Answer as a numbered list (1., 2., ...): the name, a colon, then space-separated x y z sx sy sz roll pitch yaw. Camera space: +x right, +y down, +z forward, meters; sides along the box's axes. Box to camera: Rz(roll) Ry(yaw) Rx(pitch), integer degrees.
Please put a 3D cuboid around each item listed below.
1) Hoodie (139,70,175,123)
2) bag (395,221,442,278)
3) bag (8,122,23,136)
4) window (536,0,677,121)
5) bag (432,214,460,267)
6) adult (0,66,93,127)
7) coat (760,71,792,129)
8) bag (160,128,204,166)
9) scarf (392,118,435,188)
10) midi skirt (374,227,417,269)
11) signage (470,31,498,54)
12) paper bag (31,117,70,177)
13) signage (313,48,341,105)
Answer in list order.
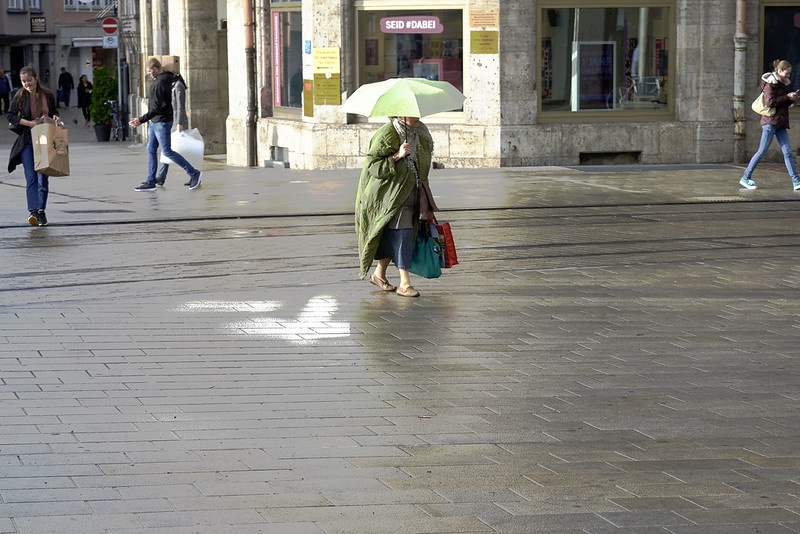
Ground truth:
1. Hoodie: -3.683 -2.592 21.652 0.606 0.764 0.369 -4 11 -21
2. bag: 0.191 -0.202 14.296 0.277 0.544 0.573 0 7 -17
3. bag: -4.832 -1.764 17.987 0.183 0.079 0.234 5 -12 4
4. window: 3.424 -3.478 24.025 2.219 1.351 1.952 0 29 0
5. bag: 0.491 -0.263 15.036 0.232 0.532 0.448 -22 24 9
6. adult: -4.625 -2.107 18.008 0.655 0.864 0.560 -3 11 -16
7. coat: 5.550 -2.448 20.917 0.450 0.798 0.465 3 11 13
8. bag: -3.382 -1.876 22.185 0.657 0.571 0.642 4 -3 -10
9. scarf: 0.115 -1.146 14.147 0.500 0.590 0.213 10 -21 -28
10. midi skirt: -0.030 -0.211 14.288 0.281 0.438 0.410 10 -1 -42
11. signage: 1.386 -3.667 23.112 0.452 0.320 0.055 0 2 3
12. paper bag: -4.377 -1.495 17.914 0.449 0.717 0.410 -5 12 -27
13. signage: -1.203 -3.180 23.735 0.535 0.953 0.105 5 12 22
